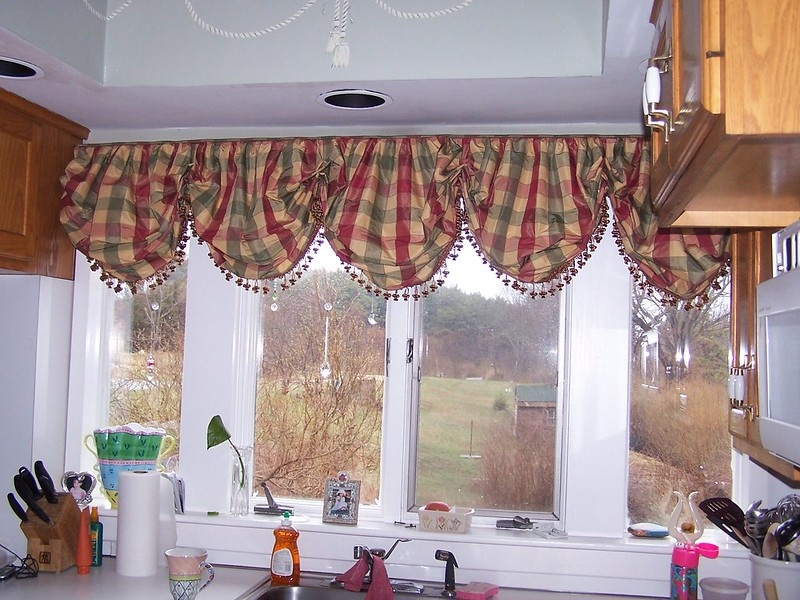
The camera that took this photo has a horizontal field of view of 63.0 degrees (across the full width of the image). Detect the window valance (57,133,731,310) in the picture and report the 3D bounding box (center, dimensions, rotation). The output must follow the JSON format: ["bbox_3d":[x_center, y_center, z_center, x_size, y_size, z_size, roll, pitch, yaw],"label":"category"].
[{"bbox_3d":[-0.107,-0.360,2.816,2.810,0.846,0.157,-2,-7,6],"label":"window valance"}]

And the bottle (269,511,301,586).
[{"bbox_3d":[-0.480,1.028,2.735,0.118,0.310,0.071,4,10,4],"label":"bottle"}]

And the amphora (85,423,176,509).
[{"bbox_3d":[-1.301,0.798,3.139,0.400,0.366,0.345,2,-17,-8],"label":"amphora"}]

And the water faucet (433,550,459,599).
[{"bbox_3d":[0.192,1.102,2.691,0.089,0.176,0.193,-2,-7,6],"label":"water faucet"}]

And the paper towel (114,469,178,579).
[{"bbox_3d":[-1.077,0.938,2.851,0.190,0.372,0.202,8,1,-10],"label":"paper towel"}]
